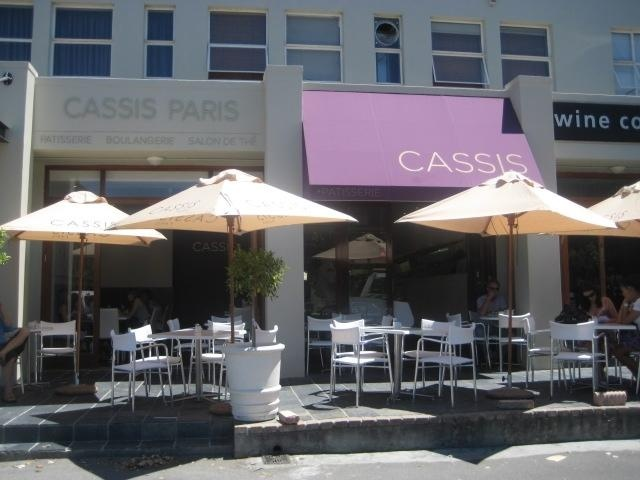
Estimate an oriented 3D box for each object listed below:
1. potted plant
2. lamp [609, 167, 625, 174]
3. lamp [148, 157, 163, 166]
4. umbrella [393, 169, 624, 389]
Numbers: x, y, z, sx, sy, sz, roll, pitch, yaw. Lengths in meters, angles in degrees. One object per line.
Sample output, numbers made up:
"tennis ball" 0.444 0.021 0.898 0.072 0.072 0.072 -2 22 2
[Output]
"potted plant" -1.009 1.441 10.508 0.896 2.591 1.682 -1 -6 -4
"lamp" 6.654 -1.572 14.809 0.175 0.075 0.210 1 -6 4
"lamp" -3.374 -1.631 13.561 0.189 0.073 0.195 -9 -13 20
"umbrella" 3.125 0.598 10.685 2.952 3.470 2.255 3 -7 -34
